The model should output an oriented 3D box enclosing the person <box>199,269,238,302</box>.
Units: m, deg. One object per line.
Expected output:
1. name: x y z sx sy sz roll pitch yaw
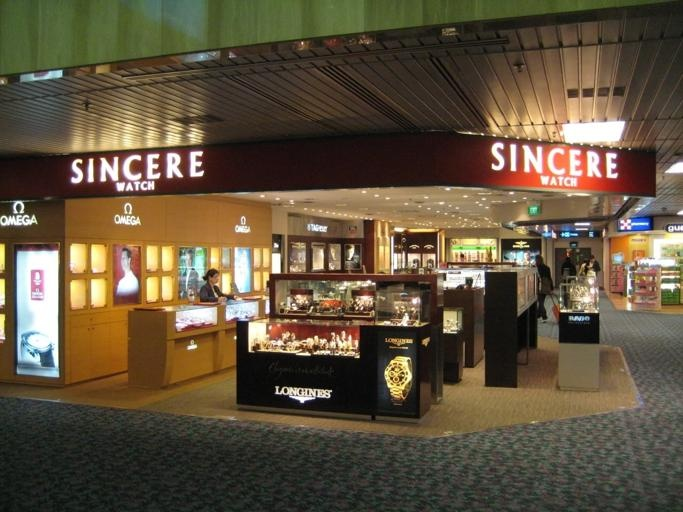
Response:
1. person: -2.329 0.640 9.962 0.608 0.752 0.669 3 4 18
